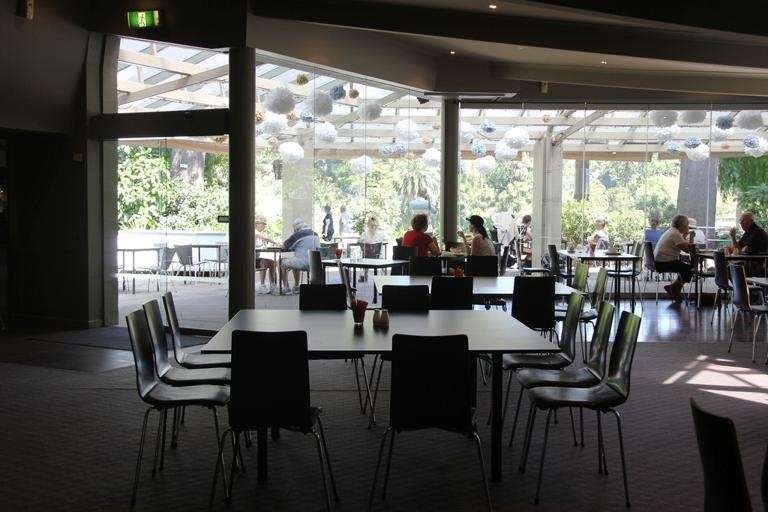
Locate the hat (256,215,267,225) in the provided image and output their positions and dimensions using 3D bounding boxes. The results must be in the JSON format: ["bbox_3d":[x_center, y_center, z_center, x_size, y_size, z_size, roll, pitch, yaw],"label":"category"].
[{"bbox_3d":[-1.963,-0.590,9.384,0.058,0.134,0.244,3,6,25],"label":"hat"}]

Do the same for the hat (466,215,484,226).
[{"bbox_3d":[1.459,-0.617,9.760,0.302,0.144,0.225,10,9,34],"label":"hat"}]

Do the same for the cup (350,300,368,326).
[{"bbox_3d":[-0.228,0.530,5.501,0.198,0.215,0.217,-1,4,0],"label":"cup"}]

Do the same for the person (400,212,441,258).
[{"bbox_3d":[0.651,-0.425,10.199,0.737,0.922,0.708,7,11,27],"label":"person"}]

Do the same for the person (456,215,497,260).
[{"bbox_3d":[1.530,-0.105,9.879,0.600,1.074,0.475,5,13,23],"label":"person"}]

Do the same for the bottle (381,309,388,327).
[{"bbox_3d":[0.002,0.571,5.334,0.083,0.145,0.199,0,5,-1],"label":"bottle"}]

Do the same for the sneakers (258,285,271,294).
[{"bbox_3d":[-1.906,0.532,9.275,0.235,0.106,0.088,-2,4,-18],"label":"sneakers"}]

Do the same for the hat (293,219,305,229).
[{"bbox_3d":[-1.432,-0.555,9.974,0.160,0.167,0.179,-2,3,-11],"label":"hat"}]
